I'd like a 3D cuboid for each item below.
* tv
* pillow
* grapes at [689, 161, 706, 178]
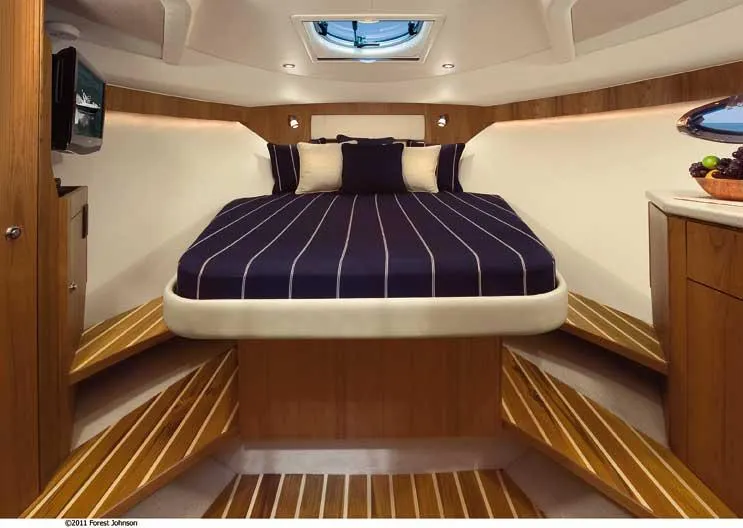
[{"bbox_3d":[-1.580,-0.862,2.592,0.200,0.523,0.624,1,21,-15],"label":"tv"},{"bbox_3d":[-0.096,-0.810,4.055,1.668,0.419,0.691,2,13,10],"label":"pillow"},{"bbox_3d":[1.640,-0.479,2.455,0.070,0.053,0.096,-2,14,6],"label":"grapes"}]
